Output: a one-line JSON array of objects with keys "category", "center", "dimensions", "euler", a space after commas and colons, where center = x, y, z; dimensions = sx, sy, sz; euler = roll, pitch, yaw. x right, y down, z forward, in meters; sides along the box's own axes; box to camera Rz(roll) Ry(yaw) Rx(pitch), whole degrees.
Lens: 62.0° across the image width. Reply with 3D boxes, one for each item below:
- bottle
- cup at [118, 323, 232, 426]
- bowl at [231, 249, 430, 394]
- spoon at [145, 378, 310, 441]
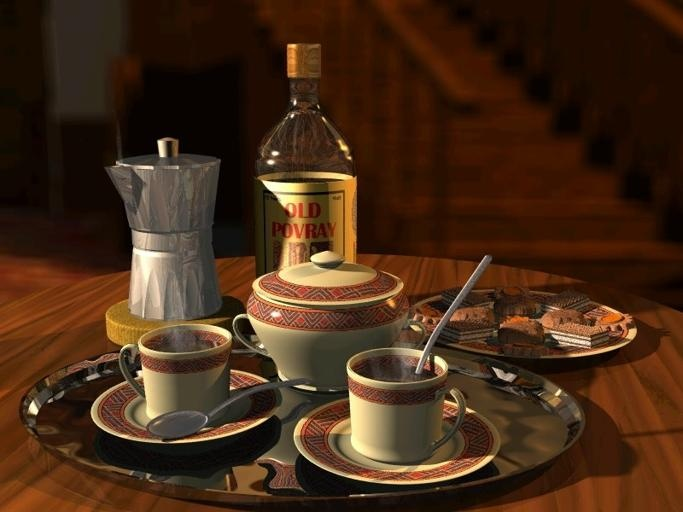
[{"category": "bottle", "center": [-0.046, -0.118, 0.717], "dimensions": [0.131, 0.272, 0.203], "euler": [0, 16, -2]}, {"category": "cup", "center": [-0.132, 0.107, 0.516], "dimensions": [0.112, 0.060, 0.075], "euler": [-3, 21, -8]}, {"category": "bowl", "center": [-0.019, 0.040, 0.513], "dimensions": [0.200, 0.102, 0.141], "euler": [0, 13, -3]}, {"category": "spoon", "center": [-0.092, 0.122, 0.498], "dimensions": [0.151, 0.025, 0.050], "euler": [-9, 17, -33]}]
